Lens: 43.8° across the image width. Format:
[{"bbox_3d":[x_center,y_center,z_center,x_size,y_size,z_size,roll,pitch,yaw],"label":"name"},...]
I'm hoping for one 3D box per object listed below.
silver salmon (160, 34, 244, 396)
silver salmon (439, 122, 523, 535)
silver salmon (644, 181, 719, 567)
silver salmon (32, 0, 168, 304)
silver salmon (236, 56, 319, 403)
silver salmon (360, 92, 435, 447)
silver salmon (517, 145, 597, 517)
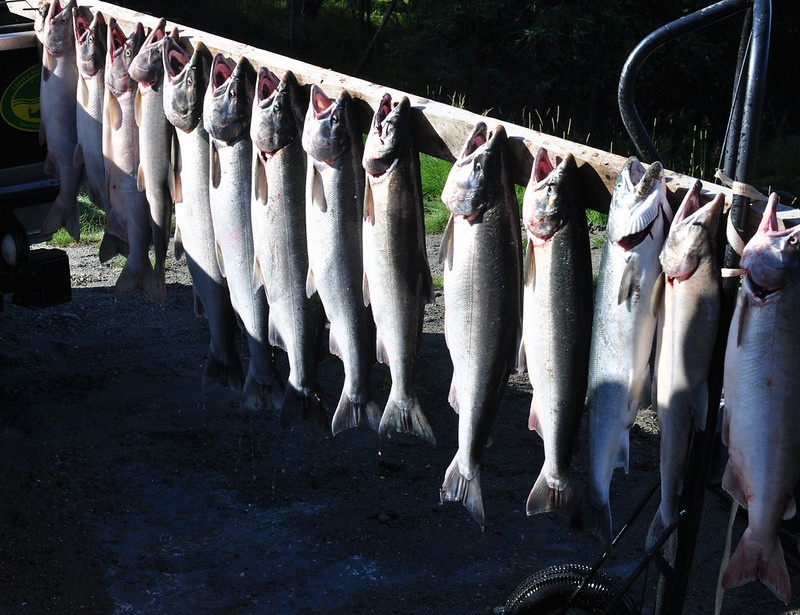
[{"bbox_3d":[-0.913,-0.476,4.741,0.416,1.798,0.329,-6,10,-13],"label":"silver salmon"},{"bbox_3d":[0.316,0.074,4.072,0.357,1.626,0.218,5,10,8],"label":"silver salmon"},{"bbox_3d":[1.078,0.215,3.881,0.248,1.372,0.205,1,7,-9],"label":"silver salmon"},{"bbox_3d":[-1.393,-0.752,4.920,0.269,1.352,0.736,-7,15,-43],"label":"silver salmon"},{"bbox_3d":[-0.529,-0.323,4.361,0.409,1.659,0.258,-3,5,-1],"label":"silver salmon"},{"bbox_3d":[0.001,-0.158,4.155,0.349,1.407,0.194,3,10,0],"label":"silver salmon"},{"bbox_3d":[0.614,0.116,3.987,0.302,1.450,0.153,6,11,14],"label":"silver salmon"}]
